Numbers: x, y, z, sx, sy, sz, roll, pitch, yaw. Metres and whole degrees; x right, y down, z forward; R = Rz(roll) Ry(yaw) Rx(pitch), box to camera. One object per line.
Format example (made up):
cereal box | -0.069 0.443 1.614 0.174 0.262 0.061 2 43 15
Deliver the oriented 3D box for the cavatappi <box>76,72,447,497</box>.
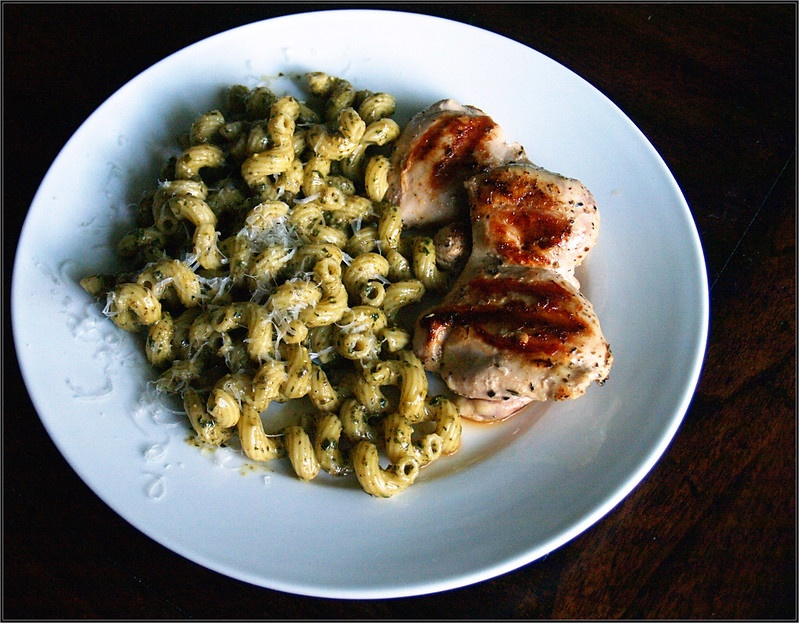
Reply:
cavatappi | -0.947 -0.073 5.662 2.234 1.084 2.489 -12 90 -10

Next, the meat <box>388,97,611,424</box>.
meat | 0.679 -0.427 5.698 1.507 0.550 2.121 -25 79 -9
